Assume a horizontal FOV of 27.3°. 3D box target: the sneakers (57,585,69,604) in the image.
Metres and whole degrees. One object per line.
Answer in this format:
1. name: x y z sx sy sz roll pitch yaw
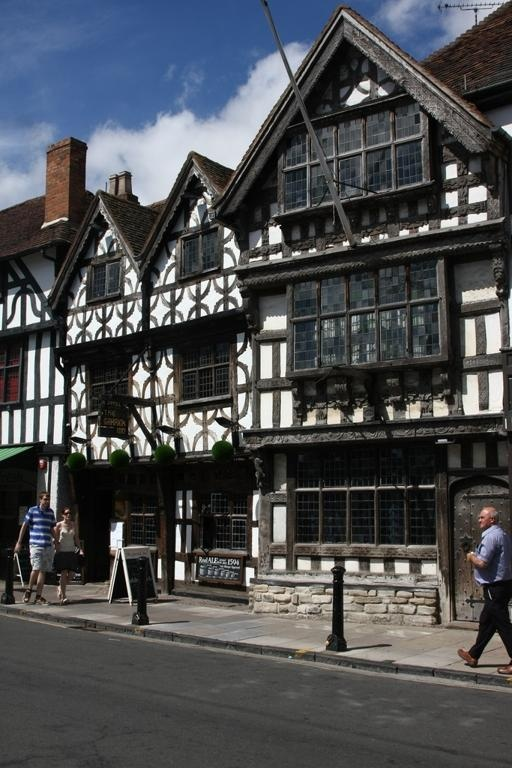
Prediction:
1. sneakers: -3.044 3.391 16.830 0.154 0.243 0.519 3 -17 -22

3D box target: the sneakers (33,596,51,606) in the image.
1. sneakers: -3.322 3.387 16.476 0.109 0.146 0.323 11 -18 -36

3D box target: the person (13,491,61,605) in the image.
1. person: -3.450 2.603 16.811 0.490 1.725 0.874 0 -7 -6
